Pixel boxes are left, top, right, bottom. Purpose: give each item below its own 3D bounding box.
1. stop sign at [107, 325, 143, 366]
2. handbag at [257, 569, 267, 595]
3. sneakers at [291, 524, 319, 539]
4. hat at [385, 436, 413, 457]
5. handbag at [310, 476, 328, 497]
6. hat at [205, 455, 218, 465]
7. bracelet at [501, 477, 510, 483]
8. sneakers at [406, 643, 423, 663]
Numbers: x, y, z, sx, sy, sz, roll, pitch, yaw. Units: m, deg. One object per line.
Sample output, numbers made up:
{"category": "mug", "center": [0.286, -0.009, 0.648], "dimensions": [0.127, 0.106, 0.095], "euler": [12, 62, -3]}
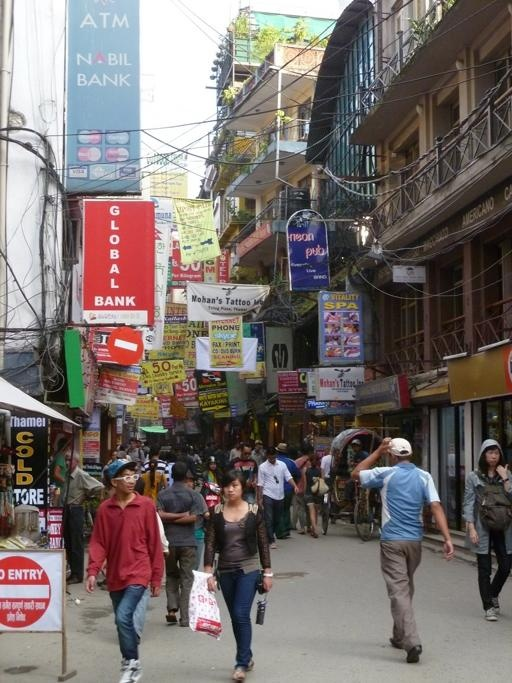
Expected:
{"category": "stop sign", "center": [-2.523, 0.074, 18.381], "dimensions": [0.656, 0.749, 0.792], "euler": [0, -6, -11]}
{"category": "handbag", "center": [0.042, 1.746, 6.929], "dimensions": [0.082, 0.183, 0.210], "euler": [-1, -6, -1]}
{"category": "sneakers", "center": [0.998, 3.632, 18.271], "dimensions": [0.195, 0.272, 0.635], "euler": [4, -21, -10]}
{"category": "hat", "center": [1.171, 0.873, 7.835], "dimensions": [0.175, 0.141, 0.403], "euler": [-2, -6, 8]}
{"category": "handbag", "center": [1.164, 2.609, 17.544], "dimensions": [0.445, 0.452, 0.245], "euler": [3, -7, -25]}
{"category": "hat", "center": [-0.879, 2.389, 19.437], "dimensions": [0.350, 0.195, 0.486], "euler": [1, -12, -6]}
{"category": "bracelet", "center": [2.393, 1.323, 9.183], "dimensions": [0.044, 0.043, 0.017], "euler": [-15, -28, -2]}
{"category": "sneakers", "center": [1.169, 2.278, 7.013], "dimensions": [0.066, 0.194, 0.085], "euler": [0, 37, 3]}
